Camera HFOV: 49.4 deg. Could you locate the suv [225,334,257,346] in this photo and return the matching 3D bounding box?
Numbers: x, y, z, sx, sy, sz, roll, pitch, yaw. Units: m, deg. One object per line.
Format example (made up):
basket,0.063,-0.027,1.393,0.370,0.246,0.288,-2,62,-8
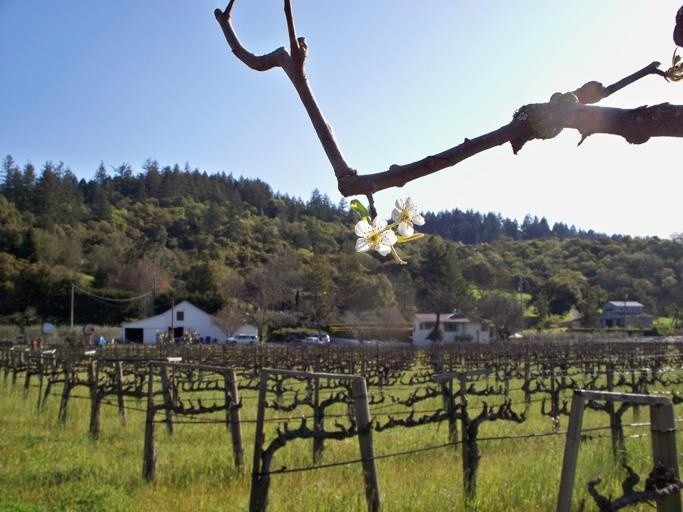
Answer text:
suv,-7.935,6.726,59.016,1.641,0.902,1.141,6,-17,-9
